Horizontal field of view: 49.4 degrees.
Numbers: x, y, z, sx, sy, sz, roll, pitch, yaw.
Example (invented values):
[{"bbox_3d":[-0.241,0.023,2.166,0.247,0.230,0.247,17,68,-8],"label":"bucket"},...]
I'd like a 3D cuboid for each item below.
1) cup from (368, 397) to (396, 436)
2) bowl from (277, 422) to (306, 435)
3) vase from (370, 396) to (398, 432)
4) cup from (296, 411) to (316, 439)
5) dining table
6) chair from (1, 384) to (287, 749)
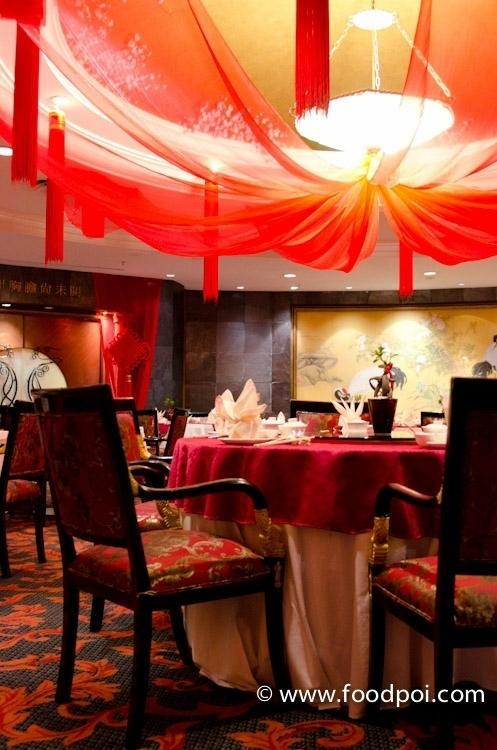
[{"bbox_3d":[0.539,0.172,2.236,0.132,0.147,0.130,-2,-13,0],"label":"cup"},{"bbox_3d":[0.170,0.204,1.989,0.060,0.045,0.057,0,-8,0],"label":"bowl"},{"bbox_3d":[0.548,0.167,2.210,0.126,0.141,0.126,4,-14,-24],"label":"vase"},{"bbox_3d":[0.246,0.210,2.280,0.081,0.096,0.083,2,0,0],"label":"cup"},{"bbox_3d":[0.209,0.552,1.699,0.737,0.563,0.723,9,-11,-38],"label":"dining table"},{"bbox_3d":[-0.349,0.415,1.973,0.863,1.354,0.815,0,-2,-33],"label":"chair"}]
